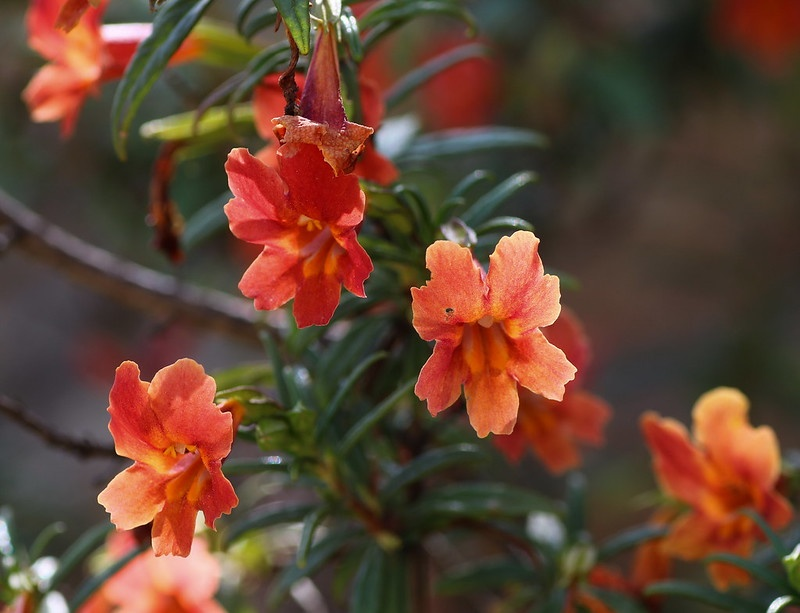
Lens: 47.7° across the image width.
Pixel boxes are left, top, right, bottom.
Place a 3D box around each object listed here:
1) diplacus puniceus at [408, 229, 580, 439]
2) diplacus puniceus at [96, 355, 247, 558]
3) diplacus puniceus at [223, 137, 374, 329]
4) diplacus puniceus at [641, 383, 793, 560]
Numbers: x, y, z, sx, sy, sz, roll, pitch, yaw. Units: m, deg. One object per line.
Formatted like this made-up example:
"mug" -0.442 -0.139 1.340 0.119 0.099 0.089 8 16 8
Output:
"diplacus puniceus" 0.118 0.032 1.164 0.201 0.247 0.085 -2 17 0
"diplacus puniceus" -0.305 0.197 1.182 0.178 0.246 0.081 2 17 15
"diplacus puniceus" -0.139 -0.098 1.183 0.210 0.217 0.102 18 27 13
"diplacus puniceus" 0.504 0.271 1.442 0.215 0.250 0.113 -4 17 -5
